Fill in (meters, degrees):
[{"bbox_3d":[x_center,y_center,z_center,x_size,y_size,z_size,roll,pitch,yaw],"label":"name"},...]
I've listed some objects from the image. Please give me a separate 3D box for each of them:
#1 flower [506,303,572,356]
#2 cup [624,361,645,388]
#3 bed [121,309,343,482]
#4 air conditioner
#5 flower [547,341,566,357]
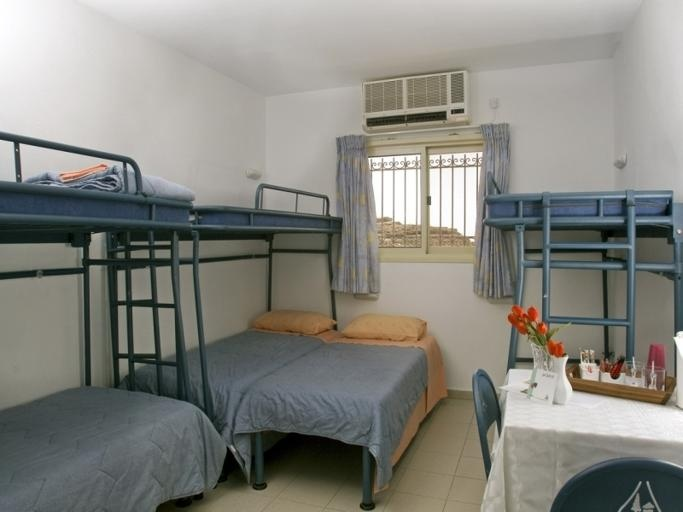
[{"bbox_3d":[1.177,0.524,3.272,0.262,0.407,0.207,-18,1,10],"label":"flower"},{"bbox_3d":[1.781,0.720,3.296,0.084,0.142,0.143,0,-5,27],"label":"cup"},{"bbox_3d":[-0.830,1.141,5.206,1.445,0.884,2.447,4,5,22],"label":"bed"},{"bbox_3d":[0.736,-1.519,5.561,1.053,0.565,0.365,-1,-8,16],"label":"air conditioner"},{"bbox_3d":[1.287,0.547,3.213,0.122,0.097,0.070,-7,12,-29],"label":"flower"}]
